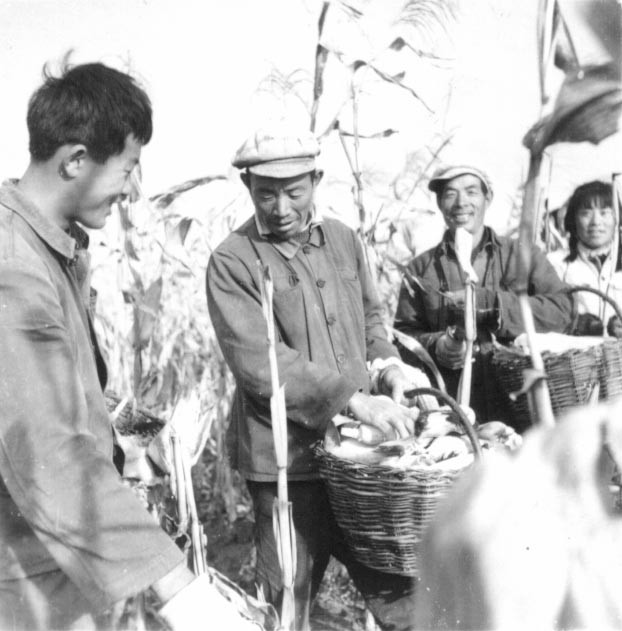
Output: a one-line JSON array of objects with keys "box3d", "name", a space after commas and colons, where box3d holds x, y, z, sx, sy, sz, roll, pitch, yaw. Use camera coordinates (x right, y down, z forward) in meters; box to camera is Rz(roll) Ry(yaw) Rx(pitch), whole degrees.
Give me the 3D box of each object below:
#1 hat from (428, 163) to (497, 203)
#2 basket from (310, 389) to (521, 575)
[{"box3d": [0.438, -0.411, 2.568, 0.116, 0.147, 0.087, 2, 9, 8], "name": "hat"}, {"box3d": [0.164, 0.356, 1.748, 0.316, 0.273, 0.414, -4, -15, 10], "name": "basket"}]
